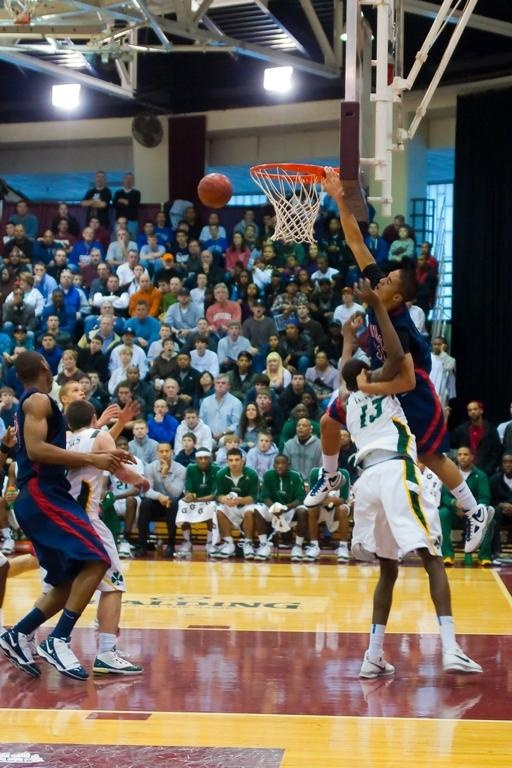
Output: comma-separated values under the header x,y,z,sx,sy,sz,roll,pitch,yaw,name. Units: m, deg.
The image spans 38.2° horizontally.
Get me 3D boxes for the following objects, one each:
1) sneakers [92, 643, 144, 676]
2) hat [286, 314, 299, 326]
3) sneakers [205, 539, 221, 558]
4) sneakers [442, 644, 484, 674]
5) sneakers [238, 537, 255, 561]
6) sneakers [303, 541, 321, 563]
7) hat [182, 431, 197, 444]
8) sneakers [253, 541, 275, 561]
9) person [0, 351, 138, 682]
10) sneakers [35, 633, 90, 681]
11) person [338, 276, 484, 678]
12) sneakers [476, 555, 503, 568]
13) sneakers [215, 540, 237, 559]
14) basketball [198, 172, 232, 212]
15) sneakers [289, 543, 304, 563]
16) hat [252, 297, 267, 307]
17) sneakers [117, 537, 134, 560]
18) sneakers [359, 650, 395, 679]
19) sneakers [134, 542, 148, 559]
x,y,z,sx,sy,sz,roll,pitch,yaw,name
-0.610,1.215,3.272,0.254,0.134,0.092,5,-3,-5,sneakers
0.499,-0.902,10.100,0.134,0.128,0.345,-1,4,3,hat
-0.430,1.678,7.566,0.148,0.190,0.440,1,-7,-6,sneakers
0.843,1.148,3.040,0.137,0.149,0.158,0,5,22,sneakers
-0.069,1.644,7.406,0.116,0.187,0.194,-1,5,1,sneakers
0.562,1.661,7.300,0.092,0.155,0.251,3,-18,12,sneakers
-0.711,0.568,8.060,0.107,0.142,0.131,-15,3,-4,hat
0.079,1.667,7.478,0.153,0.197,0.439,-1,4,6,sneakers
-0.842,0.573,3.143,0.593,1.414,0.389,2,6,39,person
-0.814,1.138,3.085,0.272,0.198,0.102,0,5,17,sneakers
0.554,0.452,3.121,0.508,1.724,0.578,-5,6,-31,person
2.187,1.672,6.967,0.087,0.121,0.286,-1,-11,-3,sneakers
-0.302,1.691,7.556,0.108,0.127,0.272,0,-6,11,sneakers
-0.342,-1.658,6.291,0.256,0.331,0.473,-2,5,-2,basketball
0.406,1.646,7.245,0.121,0.145,0.213,-1,5,1,sneakers
0.055,-1.126,10.182,0.132,0.195,0.194,-2,5,-2,hat
-1.285,1.650,7.506,0.208,0.254,0.566,0,-8,-5,sneakers
0.504,1.179,3.163,0.075,0.097,0.213,5,0,43,sneakers
-1.166,1.693,7.530,0.101,0.127,0.300,0,-10,2,sneakers
